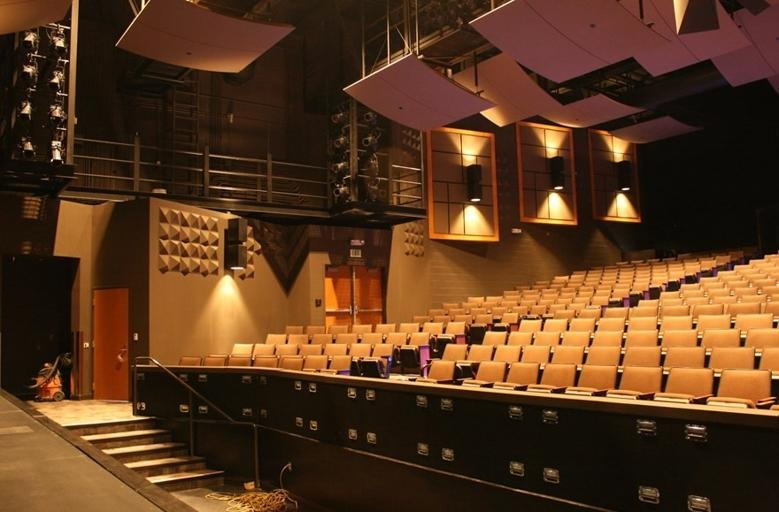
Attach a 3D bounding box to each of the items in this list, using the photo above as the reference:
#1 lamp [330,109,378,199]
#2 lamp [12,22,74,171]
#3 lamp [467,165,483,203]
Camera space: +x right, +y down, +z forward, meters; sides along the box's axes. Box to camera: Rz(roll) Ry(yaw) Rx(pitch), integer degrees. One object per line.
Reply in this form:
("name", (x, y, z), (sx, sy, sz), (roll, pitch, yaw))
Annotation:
("lamp", (-0.850, -2.363, 14.749), (1.132, 2.496, 0.965), (0, -5, -1))
("lamp", (-5.985, -2.940, 10.819), (0.876, 2.719, 0.533), (4, -6, -33))
("lamp", (2.511, -2.088, 18.190), (0.629, 1.040, 0.455), (5, -7, -41))
